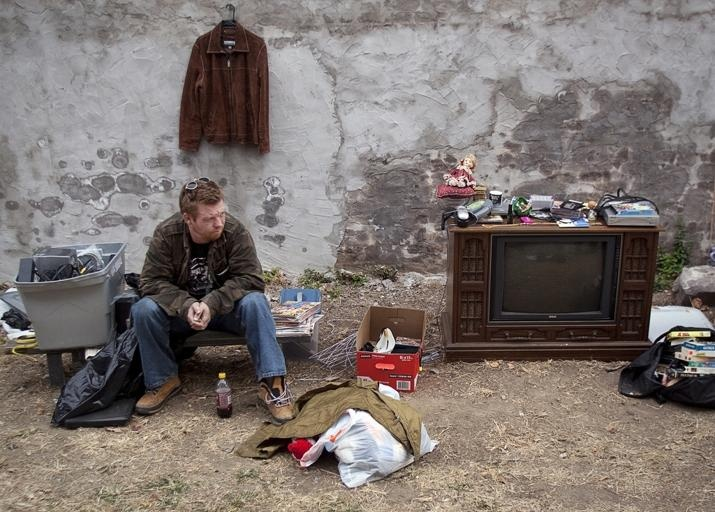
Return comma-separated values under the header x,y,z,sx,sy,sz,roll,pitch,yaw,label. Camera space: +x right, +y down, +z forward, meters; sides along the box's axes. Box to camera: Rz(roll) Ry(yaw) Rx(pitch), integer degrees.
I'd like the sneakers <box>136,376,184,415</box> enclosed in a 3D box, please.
x,y,z,sx,sy,sz,roll,pitch,yaw,label
-1.537,1.055,4.471,0.171,0.177,0.446,7,18,21,sneakers

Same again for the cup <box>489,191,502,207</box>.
x,y,z,sx,sy,sz,roll,pitch,yaw,label
1.205,-0.507,5.137,0.143,0.137,0.138,0,12,0,cup

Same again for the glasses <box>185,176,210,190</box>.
x,y,z,sx,sy,sz,roll,pitch,yaw,label
-1.240,-0.548,4.433,0.200,0.092,0.393,-3,9,-19,glasses

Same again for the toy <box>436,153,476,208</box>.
x,y,z,sx,sy,sz,roll,pitch,yaw,label
0.920,-0.718,5.254,0.319,0.393,0.344,4,10,20,toy

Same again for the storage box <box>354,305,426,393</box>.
x,y,z,sx,sy,sz,roll,pitch,yaw,label
0.292,0.766,4.905,0.562,0.426,0.729,4,12,16,storage box

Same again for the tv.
x,y,z,sx,sy,sz,roll,pitch,yaw,label
1.605,0.154,5.221,1.279,0.788,0.656,-1,8,-13,tv

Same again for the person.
x,y,z,sx,sy,sz,roll,pitch,yaw,label
-1.178,0.302,4.325,1.228,1.497,1.643,-13,25,-38,person

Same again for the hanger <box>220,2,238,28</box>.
x,y,z,sx,sy,sz,roll,pitch,yaw,label
-1.360,-2.544,6.098,0.154,0.272,0.119,-2,10,-11,hanger

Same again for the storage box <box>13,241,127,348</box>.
x,y,z,sx,sy,sz,roll,pitch,yaw,label
-2.427,0.367,4.938,0.766,0.604,0.987,-10,15,-17,storage box
